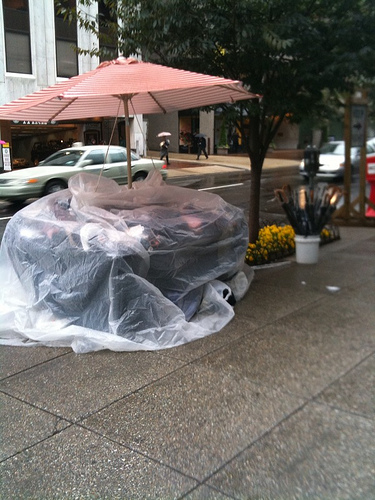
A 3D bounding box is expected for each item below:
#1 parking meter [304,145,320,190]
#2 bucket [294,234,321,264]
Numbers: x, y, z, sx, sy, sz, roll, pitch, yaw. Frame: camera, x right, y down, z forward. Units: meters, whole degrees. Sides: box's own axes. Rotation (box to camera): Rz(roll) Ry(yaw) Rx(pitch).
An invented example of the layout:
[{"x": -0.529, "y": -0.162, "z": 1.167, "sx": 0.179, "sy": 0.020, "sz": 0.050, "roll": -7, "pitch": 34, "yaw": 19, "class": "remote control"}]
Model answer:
[{"x": 2.578, "y": -1.587, "z": 7.991, "sx": 0.310, "sy": 1.059, "sz": 0.256, "roll": 6, "pitch": 14, "yaw": 34, "class": "parking meter"}, {"x": 1.891, "y": -0.018, "z": 6.365, "sx": 0.441, "sy": 0.459, "sz": 0.438, "roll": 0, "pitch": 2, "yaw": 0, "class": "bucket"}]
